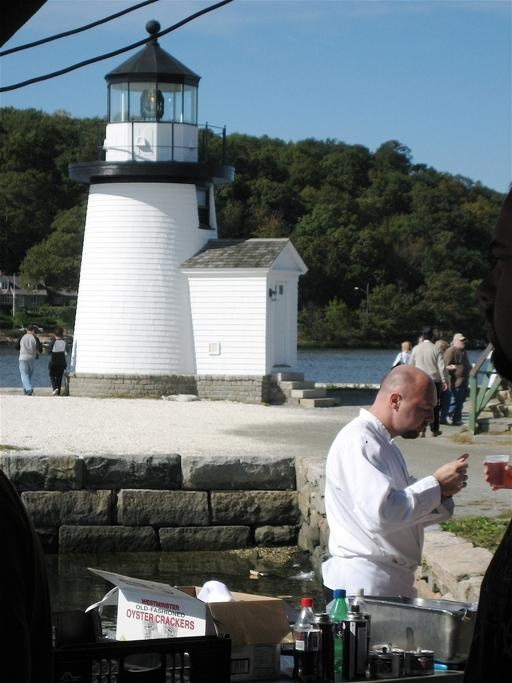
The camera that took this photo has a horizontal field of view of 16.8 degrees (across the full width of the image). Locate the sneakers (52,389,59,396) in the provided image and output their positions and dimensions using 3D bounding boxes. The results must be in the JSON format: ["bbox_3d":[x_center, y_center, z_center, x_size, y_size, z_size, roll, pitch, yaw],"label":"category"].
[{"bbox_3d":[-3.378,0.869,29.600,0.050,0.157,0.061,22,14,-17],"label":"sneakers"}]

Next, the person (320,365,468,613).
[{"bbox_3d":[0.681,0.740,8.752,0.745,1.141,0.704,-7,9,-5],"label":"person"}]

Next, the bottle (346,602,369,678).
[{"bbox_3d":[0.463,1.362,7.901,0.102,0.271,0.256,-5,9,8],"label":"bottle"}]
